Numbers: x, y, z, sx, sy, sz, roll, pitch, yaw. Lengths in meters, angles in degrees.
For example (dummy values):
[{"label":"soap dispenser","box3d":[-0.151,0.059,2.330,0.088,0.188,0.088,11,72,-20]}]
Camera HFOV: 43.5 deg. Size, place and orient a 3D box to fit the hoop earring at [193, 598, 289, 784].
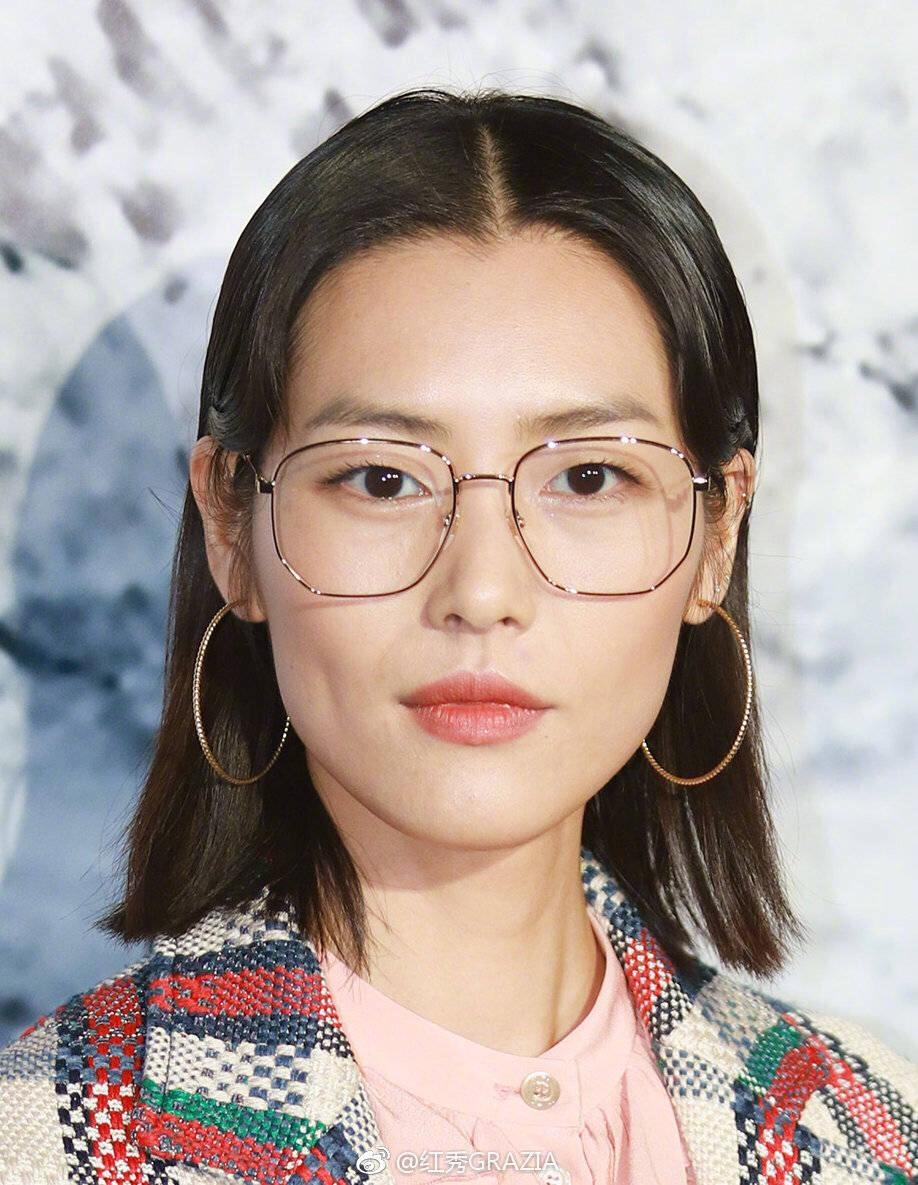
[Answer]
[{"label":"hoop earring","box3d":[-0.315,0.135,1.560,0.034,0.221,0.183,-13,-11,40]}]
